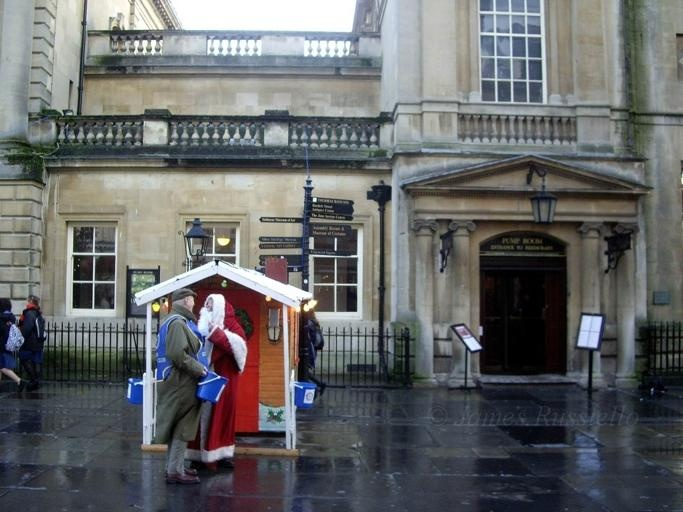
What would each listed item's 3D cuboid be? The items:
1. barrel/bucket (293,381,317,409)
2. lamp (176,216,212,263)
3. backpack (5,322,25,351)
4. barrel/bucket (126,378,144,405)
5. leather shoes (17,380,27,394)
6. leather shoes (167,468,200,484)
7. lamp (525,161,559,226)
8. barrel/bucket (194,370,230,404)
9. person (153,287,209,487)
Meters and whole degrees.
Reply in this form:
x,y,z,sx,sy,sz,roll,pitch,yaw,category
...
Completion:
x,y,z,sx,sy,sz,roll,pitch,yaw,category
-0.759,2.827,23.443,0.507,0.462,0.505,0,-8,0,barrel/bucket
-3.547,-0.337,28.010,0.654,1.263,0.636,-3,7,-30,lamp
-7.777,1.931,27.172,0.409,0.580,0.167,-4,-3,-30,backpack
-4.206,2.722,23.312,0.304,0.572,0.524,-1,12,-10,barrel/bucket
-7.681,3.109,27.460,0.169,0.398,0.141,8,6,-36,leather shoes
-3.044,4.190,21.969,0.570,0.249,0.265,0,-2,-6,leather shoes
4.910,-1.493,28.235,0.775,1.377,1.790,3,12,9,lamp
-2.586,2.575,22.299,0.558,0.475,0.565,26,-16,8,barrel/bucket
-3.129,2.510,22.083,0.940,3.523,1.037,-1,11,-8,person
